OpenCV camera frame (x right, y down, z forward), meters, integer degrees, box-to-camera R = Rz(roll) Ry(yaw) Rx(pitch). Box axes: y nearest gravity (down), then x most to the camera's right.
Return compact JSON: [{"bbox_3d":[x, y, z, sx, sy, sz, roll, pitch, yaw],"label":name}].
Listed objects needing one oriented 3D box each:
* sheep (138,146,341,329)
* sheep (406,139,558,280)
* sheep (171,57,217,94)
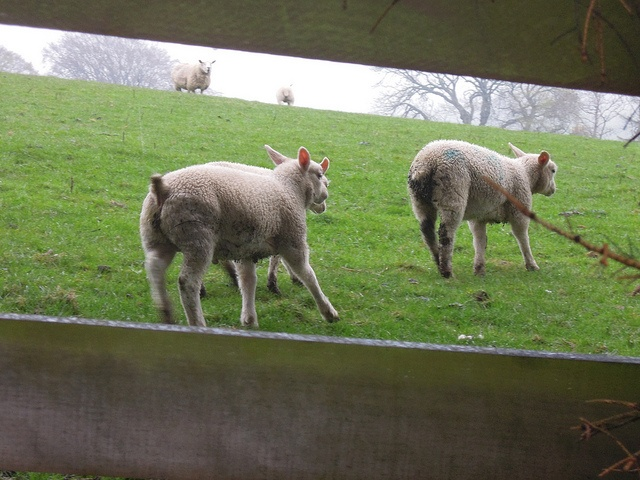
[{"bbox_3d":[-0.532,-0.045,5.387,1.306,1.095,0.756,-4,14,-30],"label":"sheep"},{"bbox_3d":[1.497,-0.258,6.961,1.716,1.137,0.584,-1,4,-36],"label":"sheep"},{"bbox_3d":[-1.135,-1.432,7.126,0.319,0.264,0.711,1,12,-9],"label":"sheep"}]
